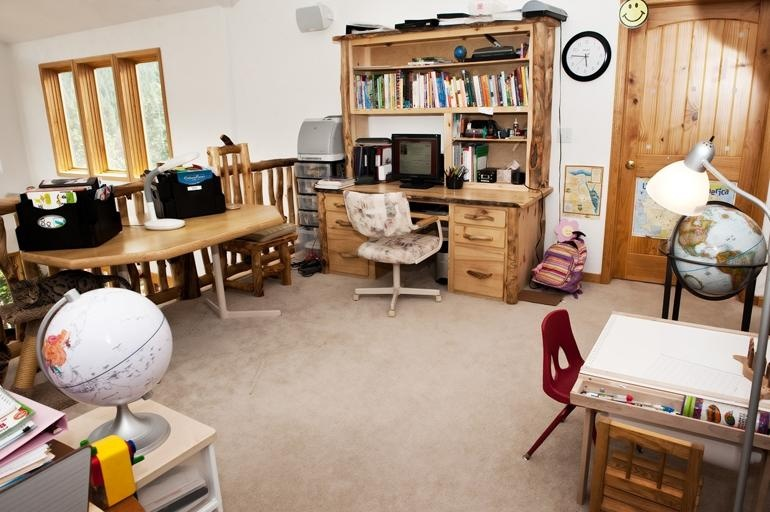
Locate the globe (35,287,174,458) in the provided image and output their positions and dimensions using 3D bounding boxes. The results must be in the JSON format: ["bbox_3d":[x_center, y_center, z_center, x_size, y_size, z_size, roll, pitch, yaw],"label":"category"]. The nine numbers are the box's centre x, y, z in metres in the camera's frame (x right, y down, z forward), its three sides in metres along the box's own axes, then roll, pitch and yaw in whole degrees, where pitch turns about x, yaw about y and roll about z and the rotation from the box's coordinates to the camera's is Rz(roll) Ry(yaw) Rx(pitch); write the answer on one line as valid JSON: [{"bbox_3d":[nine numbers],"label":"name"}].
[{"bbox_3d":[-1.030,0.415,1.930,0.433,0.611,0.225,-3,17,1],"label":"globe"}]

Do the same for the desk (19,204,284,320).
[{"bbox_3d":[-1.495,0.166,3.840,0.978,0.856,1.586,7,19,30],"label":"desk"}]

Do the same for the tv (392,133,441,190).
[{"bbox_3d":[0.309,-0.902,4.854,0.515,0.475,0.168,6,16,28],"label":"tv"}]

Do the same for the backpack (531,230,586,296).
[{"bbox_3d":[1.622,0.058,4.568,0.571,0.484,0.353,-8,17,-16],"label":"backpack"}]

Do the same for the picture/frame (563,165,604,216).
[{"bbox_3d":[1.807,-0.619,4.676,0.439,0.568,0.022,5,14,25],"label":"picture/frame"}]

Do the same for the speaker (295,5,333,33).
[{"bbox_3d":[-0.744,-2.478,5.403,0.384,0.225,0.091,4,-7,13],"label":"speaker"}]

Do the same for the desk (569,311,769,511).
[{"bbox_3d":[1.464,0.609,2.554,0.793,0.653,0.999,8,25,35],"label":"desk"}]

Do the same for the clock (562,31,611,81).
[{"bbox_3d":[1.746,-1.730,4.435,0.439,0.425,0.058,4,15,36],"label":"clock"}]

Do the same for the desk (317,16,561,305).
[{"bbox_3d":[0.554,-0.821,4.652,2.489,2.680,1.147,4,18,24],"label":"desk"}]

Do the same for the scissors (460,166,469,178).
[{"bbox_3d":[0.752,-0.792,4.814,0.067,0.091,0.023,-1,11,-20],"label":"scissors"}]

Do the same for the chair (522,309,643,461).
[{"bbox_3d":[1.021,0.578,2.982,0.684,0.908,0.682,3,12,34],"label":"chair"}]
